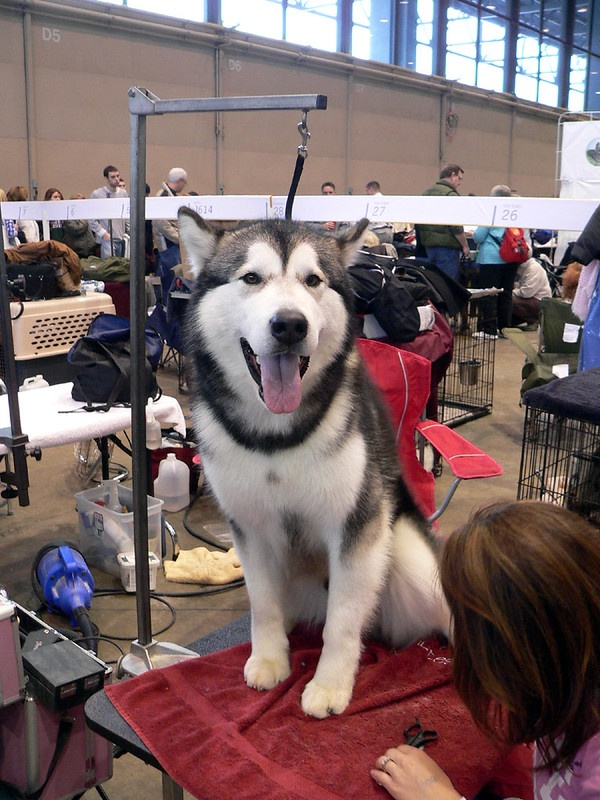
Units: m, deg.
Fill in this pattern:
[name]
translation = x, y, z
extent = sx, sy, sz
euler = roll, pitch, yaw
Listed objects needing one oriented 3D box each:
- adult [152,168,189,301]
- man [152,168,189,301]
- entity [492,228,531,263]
[adult]
translation = -1.329, -1.629, 6.722
extent = 0.441, 1.344, 0.362
euler = 2, 42, -14
[man]
translation = -1.324, -1.618, 6.711
extent = 0.432, 1.317, 0.348
euler = -6, 38, -25
[entity]
translation = 2.614, -1.874, 8.240
extent = 0.342, 0.407, 0.360
euler = 1, 13, 6
